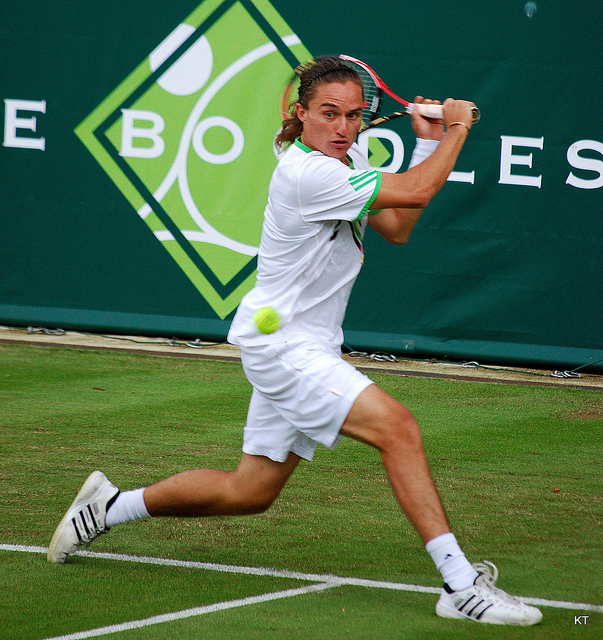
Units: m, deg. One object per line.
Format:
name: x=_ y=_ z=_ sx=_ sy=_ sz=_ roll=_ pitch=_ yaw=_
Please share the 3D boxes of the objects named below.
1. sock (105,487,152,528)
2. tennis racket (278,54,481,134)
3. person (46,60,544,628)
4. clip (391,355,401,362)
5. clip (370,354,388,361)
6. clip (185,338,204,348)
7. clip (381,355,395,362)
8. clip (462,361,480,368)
sock: x=-0.553 y=0.610 z=2.944 sx=0.145 sy=0.143 sz=0.060 roll=8 pitch=14 yaw=23
tennis racket: x=0.316 y=-0.761 z=3.070 sx=0.251 sy=0.056 sz=0.574 roll=-22 pitch=51 yaw=-27
person: x=0.076 y=0.025 z=2.795 sx=1.481 sy=1.614 sz=0.638 roll=7 pitch=14 yaw=17
clip: x=0.605 y=0.240 z=5.884 sx=0.073 sy=0.017 sz=0.016 roll=23 pitch=38 yaw=-42
clip: x=0.483 y=0.236 z=5.890 sx=0.071 sy=0.022 sz=0.044 roll=10 pitch=-12 yaw=9
clip: x=-0.720 y=0.146 z=6.094 sx=0.106 sy=0.031 sz=0.059 roll=6 pitch=48 yaw=-1
clip: x=0.551 y=0.241 z=5.865 sx=0.093 sy=0.030 sz=0.029 roll=10 pitch=15 yaw=36
clip: x=1.063 y=0.275 z=5.800 sx=0.074 sy=0.019 sz=0.047 roll=2 pitch=8 yaw=17
